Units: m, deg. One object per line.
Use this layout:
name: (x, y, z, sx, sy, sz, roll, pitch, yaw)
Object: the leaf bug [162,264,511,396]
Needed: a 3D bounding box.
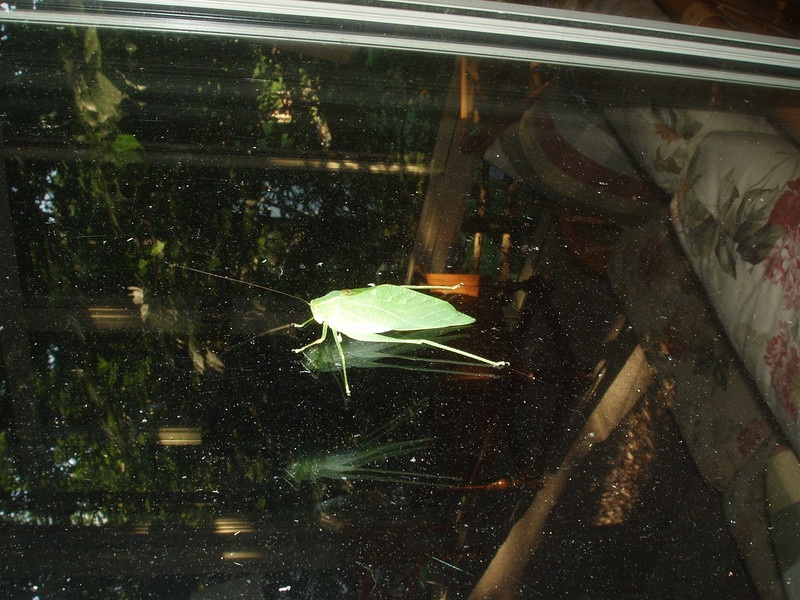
leaf bug: (-0.094, 0.069, 1.511, 0.411, 0.114, 0.269, 1, 48, -5)
